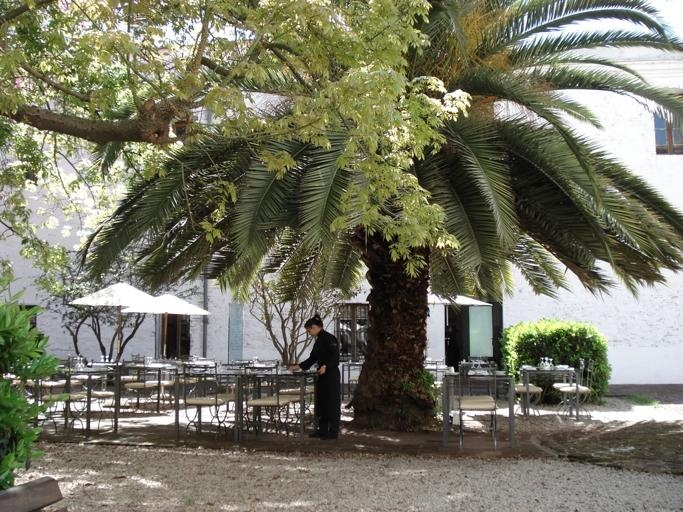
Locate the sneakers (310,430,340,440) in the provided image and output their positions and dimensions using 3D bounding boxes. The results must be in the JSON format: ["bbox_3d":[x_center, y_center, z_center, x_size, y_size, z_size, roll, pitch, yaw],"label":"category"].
[{"bbox_3d":[-0.296,3.086,10.646,0.531,0.206,0.180,4,-13,12],"label":"sneakers"}]

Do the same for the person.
[{"bbox_3d":[-0.354,2.099,10.796,0.658,2.152,0.443,-2,-9,7],"label":"person"}]
